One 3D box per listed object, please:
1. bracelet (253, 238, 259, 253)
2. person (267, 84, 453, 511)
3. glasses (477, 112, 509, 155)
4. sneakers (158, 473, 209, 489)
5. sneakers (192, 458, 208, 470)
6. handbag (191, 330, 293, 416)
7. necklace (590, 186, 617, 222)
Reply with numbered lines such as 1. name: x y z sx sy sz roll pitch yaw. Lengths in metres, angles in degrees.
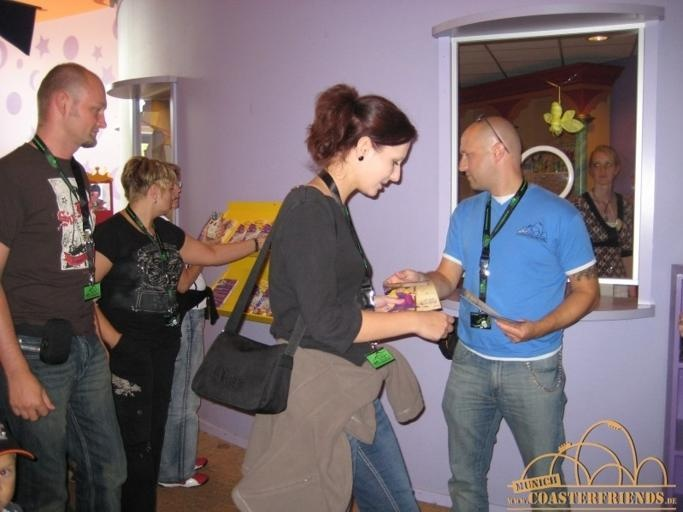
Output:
1. bracelet: -0.535 -0.075 3.666 0.049 0.069 0.073 -1 -9 -11
2. person: 0.022 0.236 2.349 0.824 1.852 0.386 0 5 -11
3. glasses: 0.762 -0.621 2.890 0.198 0.055 0.128 46 17 1
4. sneakers: -1.025 1.481 3.785 0.307 0.122 0.104 -4 16 -9
5. sneakers: -0.964 1.430 3.983 0.039 0.080 0.121 6 20 10
6. handbag: -0.386 0.459 2.323 0.395 0.282 0.195 7 -15 30
7. necklace: 1.746 -0.344 3.831 0.147 0.209 0.051 -17 -22 26
